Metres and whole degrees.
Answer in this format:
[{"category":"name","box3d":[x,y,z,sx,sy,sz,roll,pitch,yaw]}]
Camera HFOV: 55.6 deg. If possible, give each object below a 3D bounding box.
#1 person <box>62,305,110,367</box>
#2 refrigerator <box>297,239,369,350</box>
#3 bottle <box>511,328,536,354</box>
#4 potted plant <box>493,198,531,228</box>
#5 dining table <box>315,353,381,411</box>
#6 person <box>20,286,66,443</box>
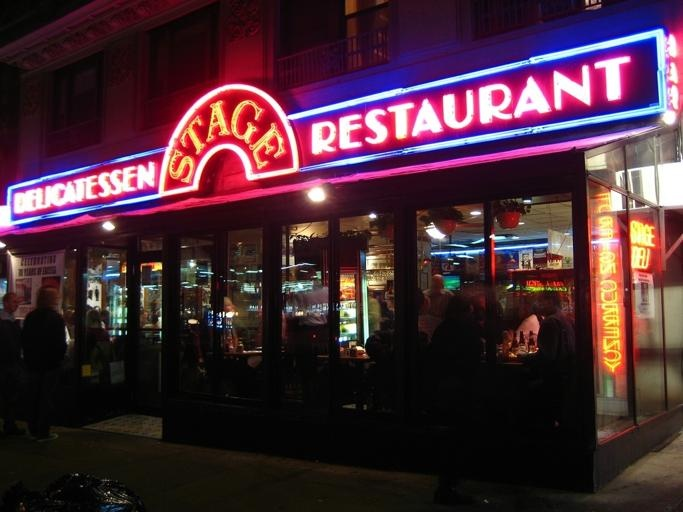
[{"category":"person","box3d":[-4.686,1.478,11.774,0.809,1.152,0.304,-2,0,7]},{"category":"refrigerator","box3d":[-0.051,0.505,9.133,1.033,1.603,0.290,-2,0,37]},{"category":"bottle","box3d":[2.235,1.051,7.880,0.301,0.276,0.048,-2,0,27]},{"category":"potted plant","box3d":[2.126,-0.546,8.091,0.371,0.302,0.357,-1,-11,10]},{"category":"dining table","box3d":[0.176,1.743,9.052,0.878,0.797,0.695,-2,-3,34]},{"category":"person","box3d":[-4.839,1.728,10.554,0.631,2.586,0.517,-2,0,-32]}]
